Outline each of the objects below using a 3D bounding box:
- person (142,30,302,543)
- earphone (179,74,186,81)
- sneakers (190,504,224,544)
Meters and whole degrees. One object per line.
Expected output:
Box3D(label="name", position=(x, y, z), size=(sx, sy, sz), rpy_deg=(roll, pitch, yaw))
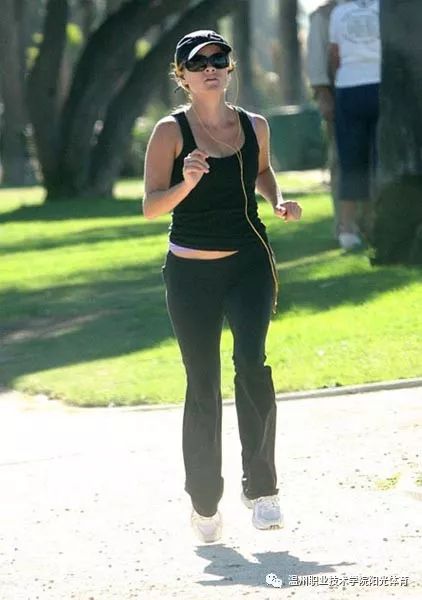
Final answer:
Box3D(label="person", position=(0.058, 0.052, 3.823), size=(0.562, 1.666, 0.577), rpy_deg=(-1, 13, 10))
Box3D(label="earphone", position=(-0.109, -0.837, 3.772), size=(0.019, 0.011, 0.024), rpy_deg=(1, -11, 2))
Box3D(label="sneakers", position=(-0.014, 0.848, 3.762), size=(0.081, 0.049, 0.143), rpy_deg=(-3, 17, -5))
